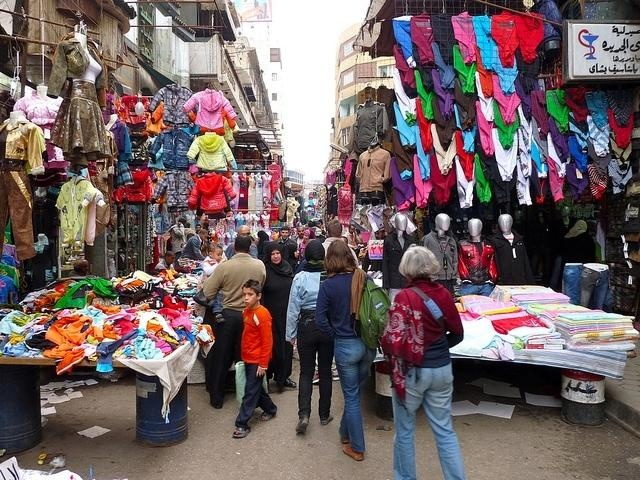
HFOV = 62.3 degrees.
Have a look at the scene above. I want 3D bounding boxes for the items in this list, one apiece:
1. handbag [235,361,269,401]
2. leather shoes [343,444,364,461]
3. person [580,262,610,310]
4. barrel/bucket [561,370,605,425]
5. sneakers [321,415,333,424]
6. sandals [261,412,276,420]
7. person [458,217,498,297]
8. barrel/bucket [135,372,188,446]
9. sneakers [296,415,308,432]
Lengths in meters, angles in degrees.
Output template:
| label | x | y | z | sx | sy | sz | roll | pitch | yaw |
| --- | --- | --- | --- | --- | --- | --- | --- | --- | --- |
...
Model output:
| label | x | y | z | sx | sy | sz | roll | pitch | yaw |
| --- | --- | --- | --- | --- | --- | --- | --- | --- | --- |
| handbag | -0.819 | 1.695 | 6.404 | 0.395 | 0.804 | 0.583 | 2 | -7 | -9 |
| leather shoes | 0.361 | 2.262 | 5.687 | 0.087 | 0.110 | 0.248 | -1 | 6 | -30 |
| person | 4.934 | 0.824 | 9.434 | 0.497 | 0.771 | 0.319 | 2 | 8 | 17 |
| barrel/bucket | 3.166 | 1.876 | 6.449 | 0.501 | 0.663 | 0.559 | 1 | -5 | -2 |
| sneakers | 0.082 | 2.158 | 6.425 | 0.059 | 0.080 | 0.171 | 3 | 6 | 20 |
| sandals | -0.644 | 2.194 | 6.629 | 0.072 | 0.098 | 0.212 | -8 | -24 | 31 |
| person | 2.548 | 0.267 | 8.474 | 0.643 | 1.200 | 0.431 | 0 | 8 | 3 |
| barrel/bucket | -1.787 | 1.892 | 6.103 | 0.613 | 0.815 | 0.699 | 0 | -5 | -3 |
| sneakers | -0.198 | 2.121 | 6.112 | 0.079 | 0.111 | 0.245 | 5 | -36 | -8 |
